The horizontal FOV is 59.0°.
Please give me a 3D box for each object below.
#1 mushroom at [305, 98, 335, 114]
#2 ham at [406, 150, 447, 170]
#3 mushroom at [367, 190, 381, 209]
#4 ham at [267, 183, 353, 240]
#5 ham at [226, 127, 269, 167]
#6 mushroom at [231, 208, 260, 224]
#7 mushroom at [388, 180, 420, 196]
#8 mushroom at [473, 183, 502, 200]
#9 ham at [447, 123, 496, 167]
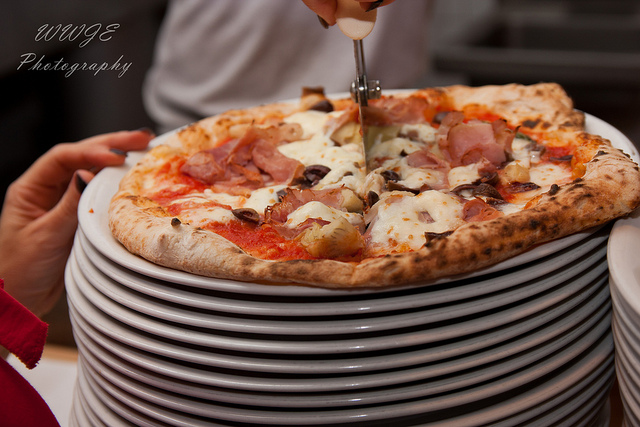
[{"bbox_3d":[0.009,-0.417,2.189,0.084,0.028,0.058,-3,21,0],"label":"mushroom"},{"bbox_3d":[0.328,-0.171,1.799,0.093,0.031,0.073,8,10,35],"label":"ham"},{"bbox_3d":[0.148,-0.039,1.594,0.047,0.051,0.013,6,-5,1],"label":"mushroom"},{"bbox_3d":[-0.060,-0.036,1.590,0.183,0.121,0.354,14,20,42],"label":"ham"},{"bbox_3d":[-0.251,-0.227,1.906,0.123,0.113,0.193,5,19,27],"label":"ham"},{"bbox_3d":[-0.206,0.005,1.562,0.060,0.015,0.042,21,44,-2],"label":"mushroom"},{"bbox_3d":[0.244,-0.081,1.636,0.063,0.016,0.052,13,12,14],"label":"mushroom"},{"bbox_3d":[0.468,-0.058,1.602,0.055,0.017,0.055,7,17,-43],"label":"mushroom"},{"bbox_3d":[0.472,-0.232,1.806,0.160,0.046,0.134,1,72,21],"label":"ham"}]
